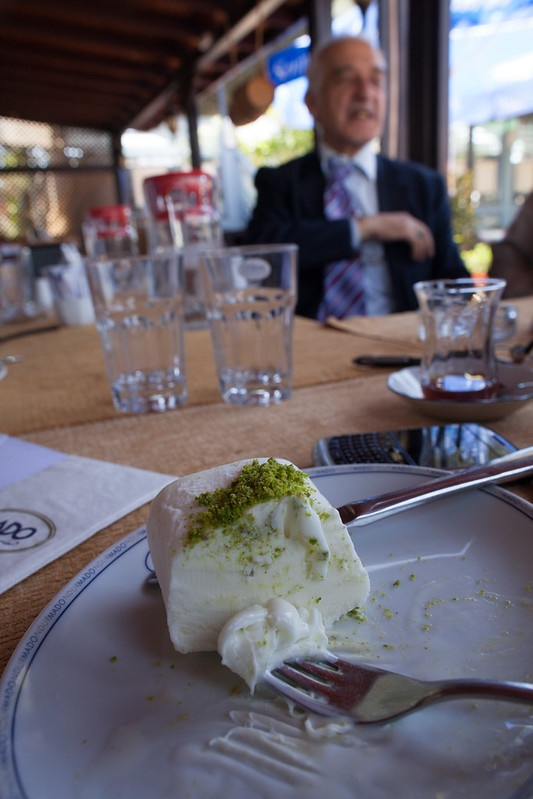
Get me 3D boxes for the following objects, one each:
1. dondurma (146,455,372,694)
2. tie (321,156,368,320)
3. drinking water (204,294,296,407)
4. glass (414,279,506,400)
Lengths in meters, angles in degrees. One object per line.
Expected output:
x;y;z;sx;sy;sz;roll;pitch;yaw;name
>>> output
-0.005;0.104;0.439;0.106;0.051;0.140;-13;45;-27;dondurma
0.222;-0.502;2.083;0.148;0.476;0.340;-4;16;9;tie
-0.003;-0.080;0.894;0.142;0.155;0.139;-9;9;4;drinking water
0.210;-0.059;0.735;0.097;0.128;0.094;-5;11;-10;glass
